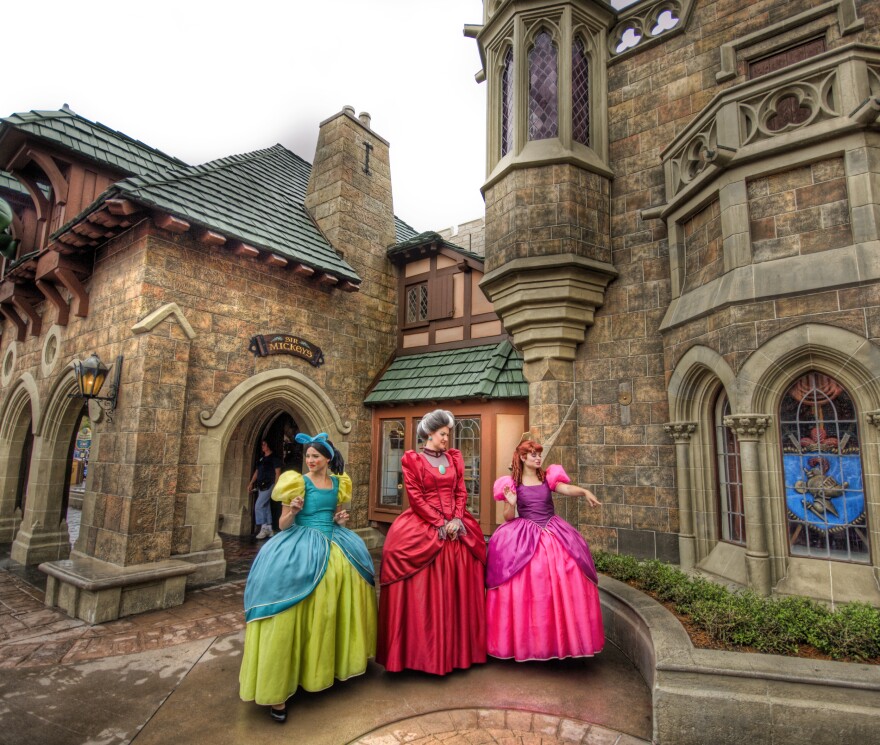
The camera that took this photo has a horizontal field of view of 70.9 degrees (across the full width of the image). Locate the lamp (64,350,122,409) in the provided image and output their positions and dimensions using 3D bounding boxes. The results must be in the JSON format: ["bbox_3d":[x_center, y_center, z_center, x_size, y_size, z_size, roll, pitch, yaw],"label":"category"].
[{"bbox_3d":[-4.434,0.129,8.017,0.482,0.725,0.600,-2,2,-43],"label":"lamp"}]

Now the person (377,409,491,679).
[{"bbox_3d":[-0.035,1.488,5.396,0.995,2.260,0.518,-2,2,-37],"label":"person"}]

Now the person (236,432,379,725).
[{"bbox_3d":[-1.062,1.596,5.028,1.125,2.125,0.567,-2,2,-30],"label":"person"}]

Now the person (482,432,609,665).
[{"bbox_3d":[0.941,1.602,5.740,1.007,1.904,0.904,-4,-4,18],"label":"person"}]

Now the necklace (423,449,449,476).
[{"bbox_3d":[-0.010,0.818,5.524,0.135,0.167,0.212,-3,-26,47],"label":"necklace"}]
